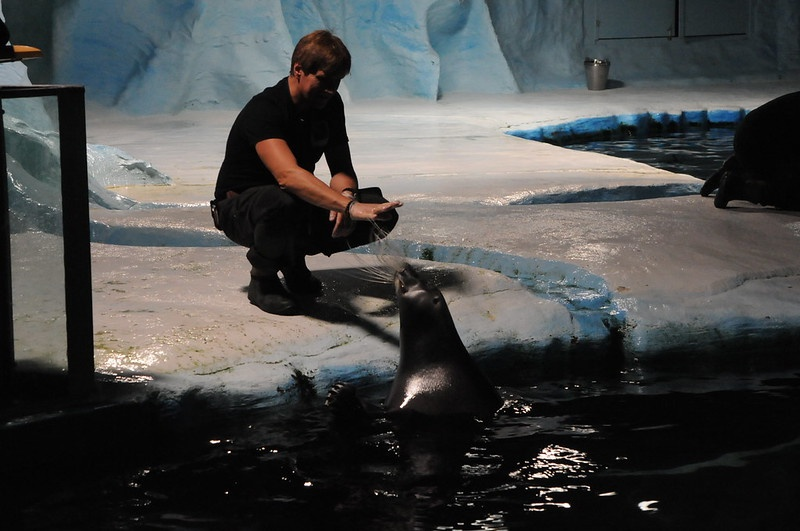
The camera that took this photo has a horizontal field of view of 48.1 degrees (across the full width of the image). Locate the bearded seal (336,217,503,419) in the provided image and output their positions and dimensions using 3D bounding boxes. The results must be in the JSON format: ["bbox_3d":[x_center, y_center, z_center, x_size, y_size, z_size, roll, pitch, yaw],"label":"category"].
[{"bbox_3d":[0.141,0.292,3.175,0.240,0.521,0.487,-33,-1,35],"label":"bearded seal"}]

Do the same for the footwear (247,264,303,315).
[{"bbox_3d":[-0.520,0.113,3.760,0.122,0.144,0.302,-15,24,-35],"label":"footwear"}]
